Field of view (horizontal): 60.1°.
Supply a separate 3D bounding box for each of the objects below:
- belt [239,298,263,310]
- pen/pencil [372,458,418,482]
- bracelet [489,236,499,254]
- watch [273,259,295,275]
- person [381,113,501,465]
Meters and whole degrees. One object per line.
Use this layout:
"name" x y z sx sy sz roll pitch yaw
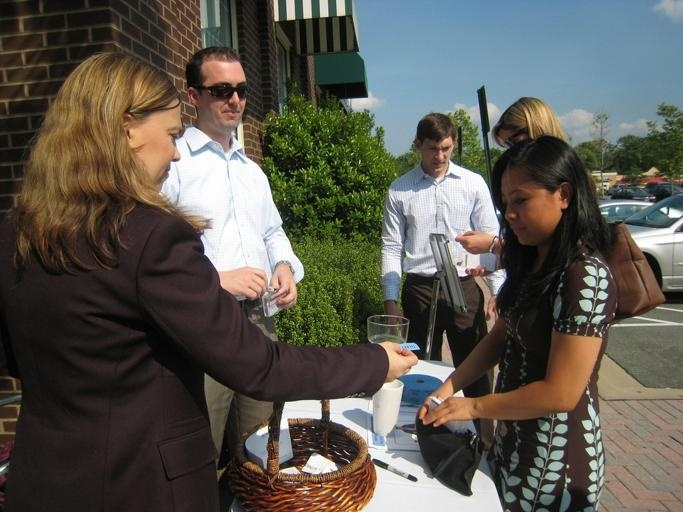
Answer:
"belt" -0.500 0.255 3.220 0.100 0.057 0.134 3 -5 -21
"pen/pencil" 0.221 0.907 2.515 0.191 0.024 0.026 22 0 31
"bracelet" 0.995 -0.072 3.846 0.059 0.123 0.089 14 -10 1
"watch" -0.339 0.058 3.489 0.074 0.053 0.095 2 12 -1
"person" 0.815 0.340 4.652 0.984 2.832 0.820 4 20 22
